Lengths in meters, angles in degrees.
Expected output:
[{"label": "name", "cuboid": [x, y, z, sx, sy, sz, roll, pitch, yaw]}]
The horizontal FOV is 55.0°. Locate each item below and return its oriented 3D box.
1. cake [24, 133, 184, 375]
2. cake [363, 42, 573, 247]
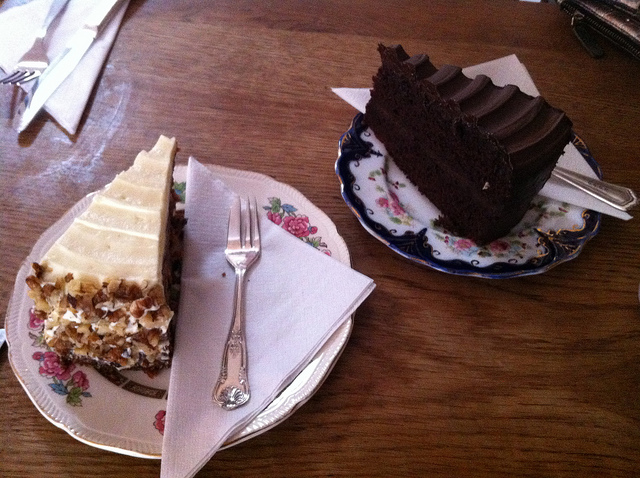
[{"label": "cake", "cuboid": [-0.445, 0.017, 1.364, 0.290, 0.180, 0.482, 7, 51, -3]}, {"label": "cake", "cuboid": [0.376, -0.283, 1.718, 0.272, 0.356, 0.584, -39, 60, -22]}]
